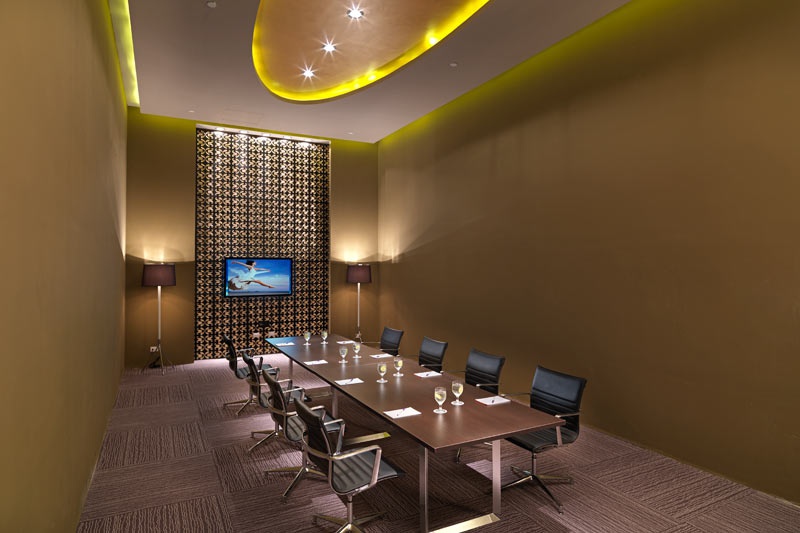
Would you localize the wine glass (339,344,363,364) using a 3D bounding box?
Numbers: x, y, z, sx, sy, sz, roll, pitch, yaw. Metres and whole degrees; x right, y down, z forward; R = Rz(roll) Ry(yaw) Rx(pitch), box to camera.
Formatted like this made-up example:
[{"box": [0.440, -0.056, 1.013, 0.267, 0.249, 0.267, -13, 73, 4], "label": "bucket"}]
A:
[{"box": [-0.697, 1.179, 6.814, 0.230, 0.086, 0.366, -1, 7, -11], "label": "wine glass"}]

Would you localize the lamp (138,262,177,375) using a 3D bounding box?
[{"box": [-4.635, 0.950, 9.421, 0.594, 2.029, 0.626, 1, 2, -26], "label": "lamp"}]
